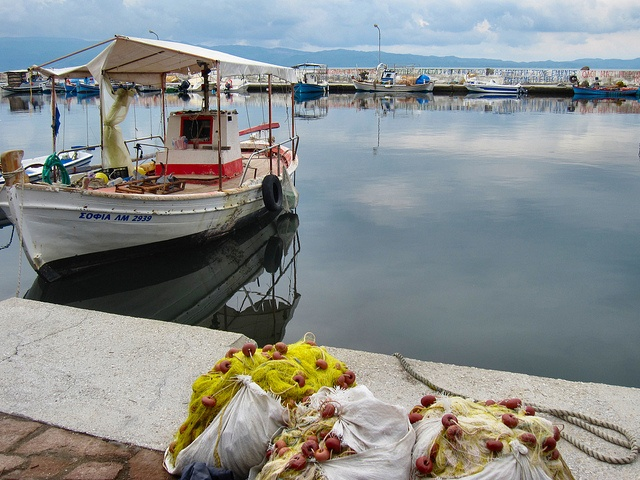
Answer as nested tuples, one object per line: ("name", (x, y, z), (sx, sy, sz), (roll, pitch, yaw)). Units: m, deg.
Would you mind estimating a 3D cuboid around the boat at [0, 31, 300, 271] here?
("boat", (-3.038, -1.774, 10.288), (3.457, 4.097, 7.315), (7, 18, 23))
